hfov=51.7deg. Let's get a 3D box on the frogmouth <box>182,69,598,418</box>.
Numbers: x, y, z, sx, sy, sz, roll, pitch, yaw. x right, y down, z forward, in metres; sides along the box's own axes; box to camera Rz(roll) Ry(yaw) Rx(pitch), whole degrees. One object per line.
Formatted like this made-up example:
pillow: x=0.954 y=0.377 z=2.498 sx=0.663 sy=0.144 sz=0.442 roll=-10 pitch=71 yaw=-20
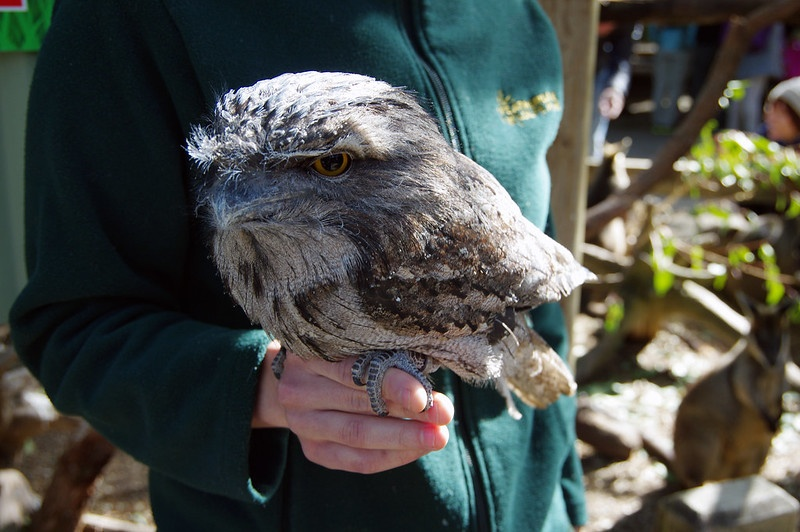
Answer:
frogmouth: x=-0.062 y=-0.116 z=2.575 sx=1.052 sy=0.925 sz=0.739 roll=-6 pitch=4 yaw=-26
